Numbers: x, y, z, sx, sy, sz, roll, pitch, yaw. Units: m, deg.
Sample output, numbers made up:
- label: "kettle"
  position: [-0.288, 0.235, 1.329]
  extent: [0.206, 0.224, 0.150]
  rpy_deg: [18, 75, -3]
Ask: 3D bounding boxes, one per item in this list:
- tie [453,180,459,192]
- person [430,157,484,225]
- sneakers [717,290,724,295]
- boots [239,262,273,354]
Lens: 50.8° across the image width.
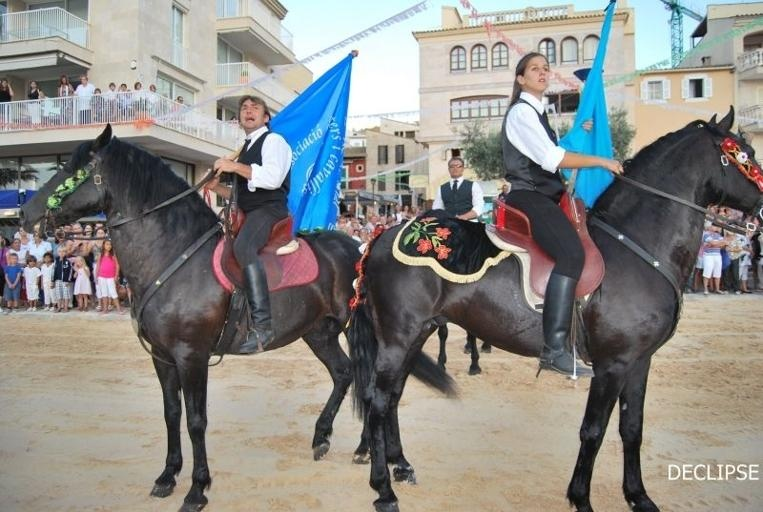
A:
- label: "tie"
  position: [1.345, -1.239, 14.636]
  extent: [0.065, 0.222, 0.032]
  rpy_deg: [0, -6, 10]
- label: "person"
  position: [1.352, -1.079, 14.656]
  extent: [0.997, 1.366, 0.776]
  rpy_deg: [-3, -8, 10]
- label: "sneakers"
  position: [9.056, 1.003, 21.493]
  extent: [0.113, 0.061, 0.151]
  rpy_deg: [1, 2, 0]
- label: "boots"
  position: [-1.756, 0.743, 11.329]
  extent: [0.443, 1.300, 0.215]
  rpy_deg: [0, 3, -11]
